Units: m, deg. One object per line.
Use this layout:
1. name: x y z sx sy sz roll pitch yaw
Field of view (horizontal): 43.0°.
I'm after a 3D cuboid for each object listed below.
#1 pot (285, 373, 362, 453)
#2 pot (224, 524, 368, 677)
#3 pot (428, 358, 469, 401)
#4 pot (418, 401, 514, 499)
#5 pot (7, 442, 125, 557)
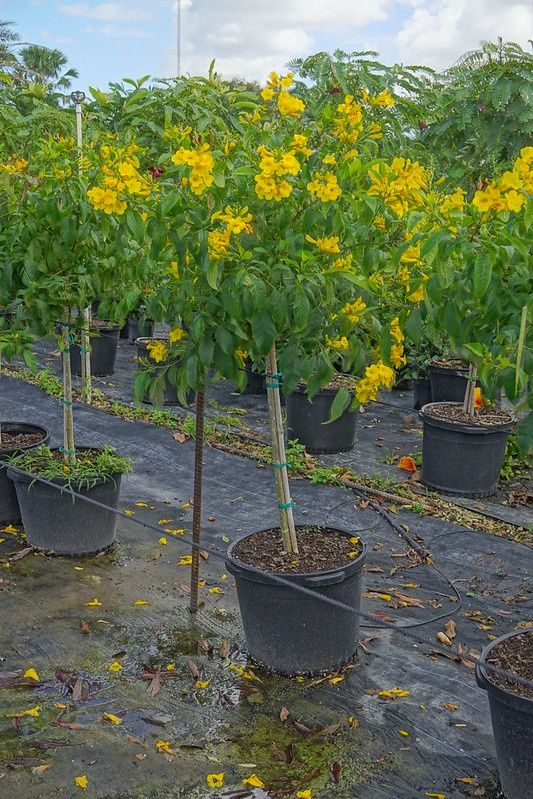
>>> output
1. pot: 0.439 0.112 5.394 0.552 0.502 0.586 1 5 0
2. pot: 0.138 0.782 2.589 0.503 0.402 0.514 -5 4 0
3. pot: 1.658 -0.187 6.311 0.477 0.374 0.492 0 6 0
4. pot: 1.389 0.352 4.807 0.660 0.574 0.659 0 14 0
5. pot: -1.035 0.502 3.461 0.566 0.421 0.559 2 8 0
